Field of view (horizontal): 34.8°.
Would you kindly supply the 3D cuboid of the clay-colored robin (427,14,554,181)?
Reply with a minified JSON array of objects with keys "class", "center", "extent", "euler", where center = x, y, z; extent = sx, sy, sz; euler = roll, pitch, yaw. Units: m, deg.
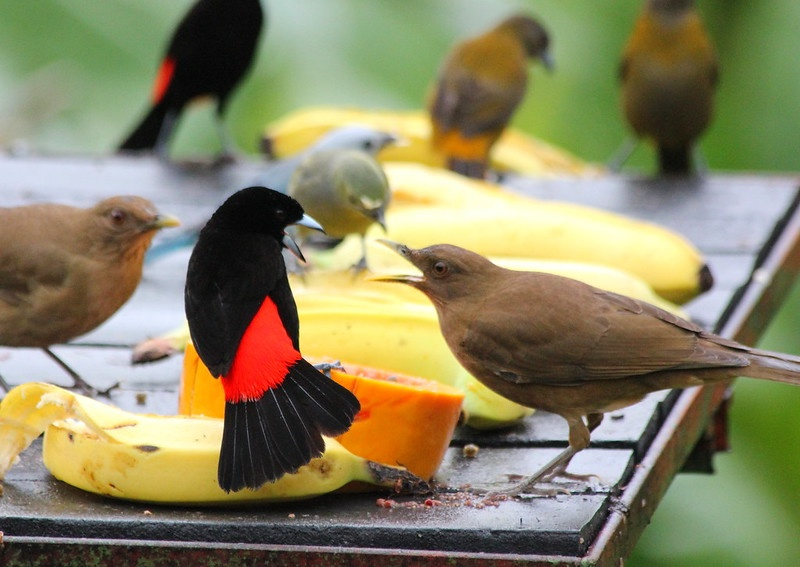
[{"class":"clay-colored robin","center":[0.374,-0.830,5.694],"extent":[0.424,0.885,0.653],"euler":[2,28,-7]}]

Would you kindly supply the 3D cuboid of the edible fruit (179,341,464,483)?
[{"class":"edible fruit","center":[-0.214,0.439,4.434],"extent":[0.683,0.239,0.589],"euler":[13,-4,-8]}]
